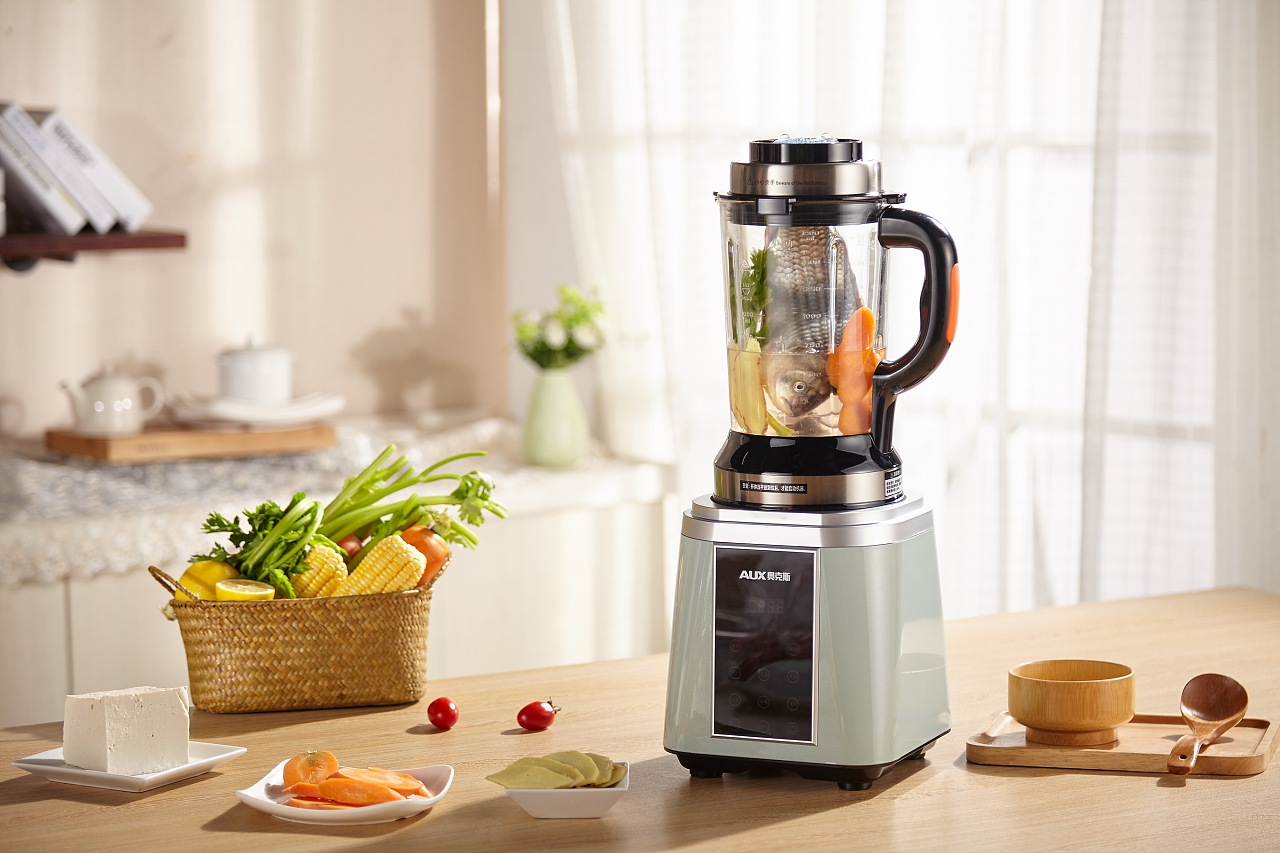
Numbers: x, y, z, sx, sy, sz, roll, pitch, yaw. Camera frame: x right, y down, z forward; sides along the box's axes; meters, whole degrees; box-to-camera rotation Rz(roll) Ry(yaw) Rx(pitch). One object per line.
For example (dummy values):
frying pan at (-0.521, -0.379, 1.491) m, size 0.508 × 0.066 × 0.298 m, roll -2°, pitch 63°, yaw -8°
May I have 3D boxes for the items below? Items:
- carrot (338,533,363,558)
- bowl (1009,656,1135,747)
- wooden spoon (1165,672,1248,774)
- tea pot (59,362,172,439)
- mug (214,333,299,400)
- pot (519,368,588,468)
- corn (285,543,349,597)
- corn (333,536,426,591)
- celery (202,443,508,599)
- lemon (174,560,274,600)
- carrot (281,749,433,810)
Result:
carrot at (-0.362, 0.149, 1.347) m, size 0.029 × 0.026 × 0.029 m, roll -34°, pitch 9°, yaw -26°
bowl at (0.455, 0.290, 1.147) m, size 0.116 × 0.052 × 0.104 m, roll -3°, pitch 5°, yaw -24°
wooden spoon at (0.606, 0.312, 1.156) m, size 0.063 × 0.028 × 0.162 m, roll -3°, pitch 21°, yaw 38°
tea pot at (-1.221, -0.068, 2.520) m, size 0.231 × 0.125 × 0.138 m, roll 1°, pitch -2°, yaw -20°
mug at (-0.929, -0.149, 2.642) m, size 0.184 × 0.134 × 0.153 m, roll 0°, pitch 0°, yaw 6°
pot at (-0.221, -0.025, 2.831) m, size 0.173 × 0.249 × 0.127 m, roll -2°, pitch 7°, yaw -7°
corn at (-0.383, 0.170, 1.306) m, size 0.049 × 0.070 × 0.029 m, roll 37°, pitch 1°, yaw 5°
corn at (-0.308, 0.174, 1.306) m, size 0.113 × 0.047 × 0.041 m, roll -28°, pitch -19°, yaw -4°
celery at (-0.332, 0.090, 1.376) m, size 0.221 × 0.124 × 0.352 m, roll -2°, pitch 4°, yaw 41°
lemon at (-0.501, 0.187, 1.296) m, size 0.096 × 0.033 × 0.053 m, roll 13°, pitch 10°, yaw 19°
carrot at (-0.282, 0.332, 1.042) m, size 0.086 × 0.020 × 0.070 m, roll 1°, pitch 2°, yaw 19°
